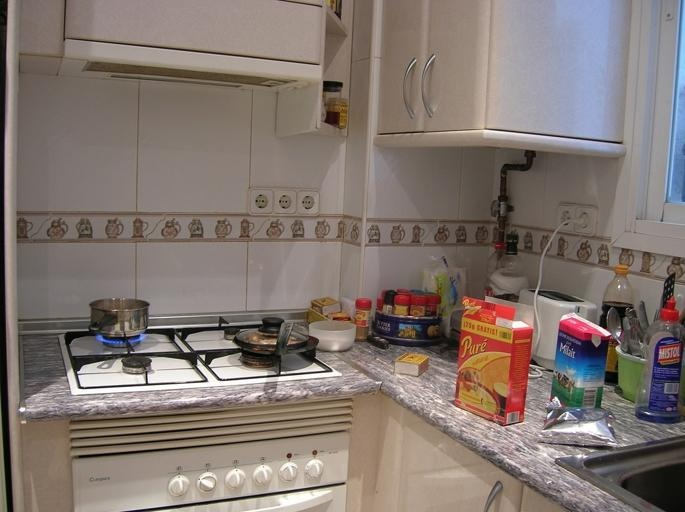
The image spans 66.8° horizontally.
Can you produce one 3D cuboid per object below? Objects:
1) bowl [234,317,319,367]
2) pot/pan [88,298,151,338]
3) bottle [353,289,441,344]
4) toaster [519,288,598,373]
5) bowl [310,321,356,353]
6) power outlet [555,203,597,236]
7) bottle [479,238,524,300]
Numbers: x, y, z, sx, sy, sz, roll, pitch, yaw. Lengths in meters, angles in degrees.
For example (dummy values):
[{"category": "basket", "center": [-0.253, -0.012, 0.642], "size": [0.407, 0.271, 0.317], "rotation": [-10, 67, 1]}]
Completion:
[{"category": "bowl", "center": [-0.238, 0.267, 1.718], "size": [0.168, 0.095, 0.200], "rotation": [0, 10, -18]}, {"category": "pot/pan", "center": [-0.737, 0.203, 1.739], "size": [0.133, 0.070, 0.174], "rotation": [7, 11, 31]}, {"category": "bottle", "center": [0.255, 0.230, 2.044], "size": [0.229, 0.151, 0.236], "rotation": [1, 7, 0]}, {"category": "toaster", "center": [0.654, 0.237, 1.578], "size": [0.125, 0.210, 0.228], "rotation": [2, 14, -6]}, {"category": "bowl", "center": [-0.032, 0.289, 1.903], "size": [0.119, 0.066, 0.116], "rotation": [0, 5, 0]}, {"category": "power outlet", "center": [0.874, -0.138, 1.946], "size": [0.047, 0.119, 0.172], "rotation": [-5, 9, -21]}, {"category": "bottle", "center": [0.662, 0.032, 2.088], "size": [0.156, 0.240, 0.251], "rotation": [1, 9, 19]}]
